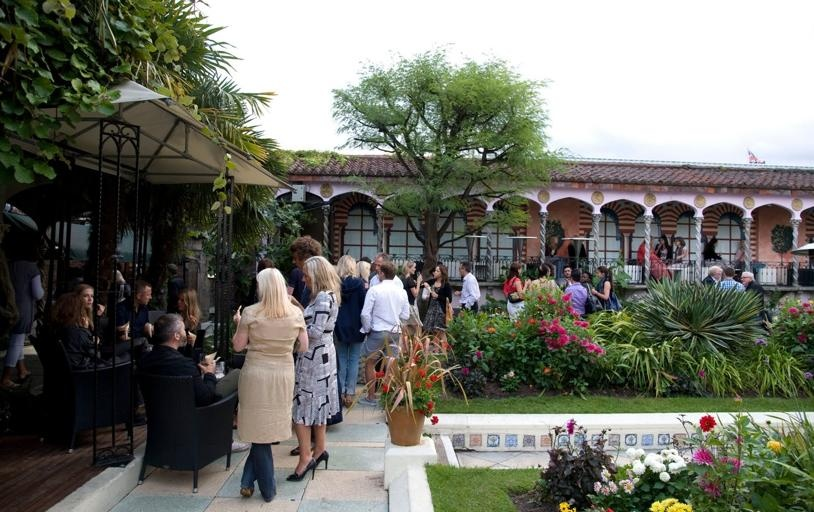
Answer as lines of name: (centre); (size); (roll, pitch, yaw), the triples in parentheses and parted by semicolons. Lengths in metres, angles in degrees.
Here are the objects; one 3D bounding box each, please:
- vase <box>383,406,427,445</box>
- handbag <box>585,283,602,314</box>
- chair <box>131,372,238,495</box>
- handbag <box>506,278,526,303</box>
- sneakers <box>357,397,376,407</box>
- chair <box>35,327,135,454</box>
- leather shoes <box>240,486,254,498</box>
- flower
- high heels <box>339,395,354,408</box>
vase: (-0.021, 2.196, 8.704); (0.479, 0.384, 0.503); (1, -11, -1)
handbag: (3.804, 0.898, 13.737); (0.268, 0.482, 0.469); (-14, -12, 11)
chair: (-2.777, 2.110, 8.425); (1.104, 1.300, 1.104); (2, 1, 39)
handbag: (2.140, 0.698, 13.315); (0.314, 0.586, 0.443); (6, -9, -38)
sneakers: (-0.630, 2.359, 10.774); (0.285, 0.113, 0.123); (6, 6, 17)
chair: (-4.183, 1.609, 9.151); (1.388, 1.862, 1.422); (-1, 0, -33)
leather shoes: (-1.895, 2.809, 7.997); (0.157, 0.131, 0.128); (2, -5, -14)
flower: (0.040, 1.605, 9.362); (1.519, 1.070, 1.578); (3, -12, -1)
high heels: (-0.916, 2.243, 10.341); (0.188, 0.209, 0.509); (-1, -14, -1)
